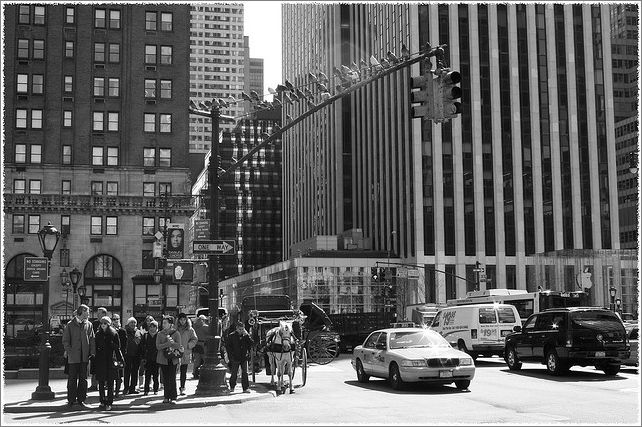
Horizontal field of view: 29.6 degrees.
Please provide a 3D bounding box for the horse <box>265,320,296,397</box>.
[{"bbox_3d":[-2.865,10.454,89.381,2.107,5.085,8.312,1,-5,-6],"label":"horse"}]

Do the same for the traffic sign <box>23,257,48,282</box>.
[{"bbox_3d":[-20.067,3.864,85.237,1.849,1.761,0.201,0,-14,-16],"label":"traffic sign"}]

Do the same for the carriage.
[{"bbox_3d":[-4.053,9.236,98.071,4.052,6.847,10.719,-1,6,-11],"label":"carriage"}]

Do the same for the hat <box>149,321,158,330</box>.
[{"bbox_3d":[-11.957,7.883,86.147,0.469,0.544,0.529,-1,-3,1],"label":"hat"}]
